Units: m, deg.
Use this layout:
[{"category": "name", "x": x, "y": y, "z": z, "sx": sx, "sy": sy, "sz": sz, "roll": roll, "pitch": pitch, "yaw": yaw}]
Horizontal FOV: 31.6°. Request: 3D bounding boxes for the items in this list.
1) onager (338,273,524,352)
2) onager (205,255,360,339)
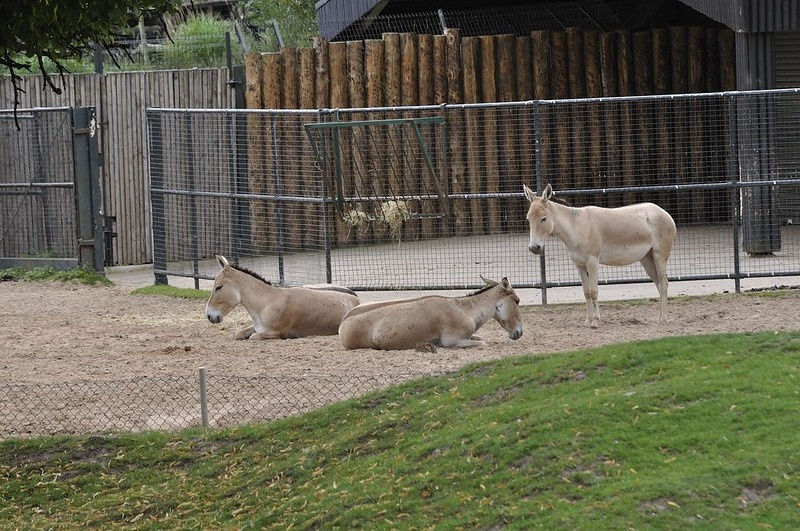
[{"category": "onager", "x": 0.607, "y": 0.564, "z": 21.928, "sx": 3.207, "sy": 1.589, "sz": 1.116, "roll": -4, "pitch": 2, "yaw": -7}, {"category": "onager", "x": -1.985, "y": 0.554, "z": 23.051, "sx": 2.884, "sy": 1.865, "sz": 1.012, "roll": 1, "pitch": -1, "yaw": -11}]
